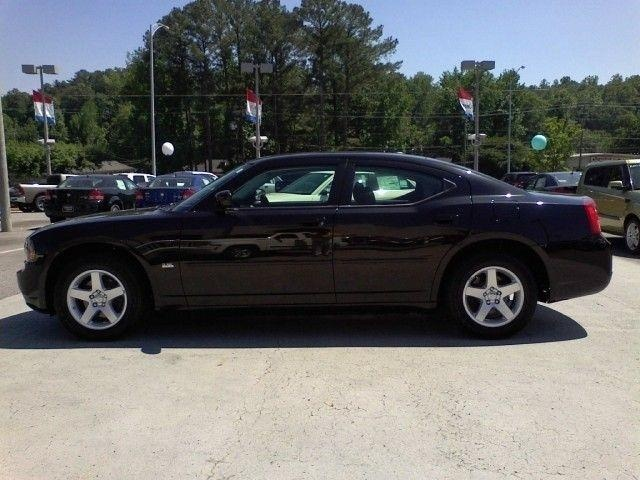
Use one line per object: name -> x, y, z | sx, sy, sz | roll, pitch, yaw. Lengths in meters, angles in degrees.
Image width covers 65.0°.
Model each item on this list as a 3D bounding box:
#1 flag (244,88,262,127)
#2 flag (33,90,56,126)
flag -> -3.878, -7.808, 29.036 | 0.631, 1.766, 1.178 | 2, 9, 16
flag -> -15.639, -7.682, 28.585 | 0.940, 1.871, 2.468 | -5, 11, -29
